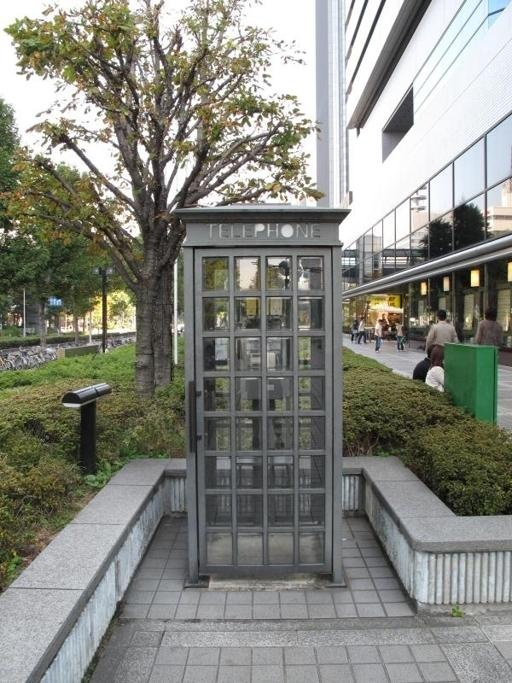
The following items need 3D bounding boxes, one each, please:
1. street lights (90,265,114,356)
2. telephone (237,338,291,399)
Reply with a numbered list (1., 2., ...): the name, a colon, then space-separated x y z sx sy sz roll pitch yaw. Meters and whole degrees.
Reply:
1. street lights: -10.033 -2.040 33.826 0.585 4.773 0.806 9 8 7
2. telephone: 0.059 0.153 3.522 0.266 0.418 0.269 4 4 -6
